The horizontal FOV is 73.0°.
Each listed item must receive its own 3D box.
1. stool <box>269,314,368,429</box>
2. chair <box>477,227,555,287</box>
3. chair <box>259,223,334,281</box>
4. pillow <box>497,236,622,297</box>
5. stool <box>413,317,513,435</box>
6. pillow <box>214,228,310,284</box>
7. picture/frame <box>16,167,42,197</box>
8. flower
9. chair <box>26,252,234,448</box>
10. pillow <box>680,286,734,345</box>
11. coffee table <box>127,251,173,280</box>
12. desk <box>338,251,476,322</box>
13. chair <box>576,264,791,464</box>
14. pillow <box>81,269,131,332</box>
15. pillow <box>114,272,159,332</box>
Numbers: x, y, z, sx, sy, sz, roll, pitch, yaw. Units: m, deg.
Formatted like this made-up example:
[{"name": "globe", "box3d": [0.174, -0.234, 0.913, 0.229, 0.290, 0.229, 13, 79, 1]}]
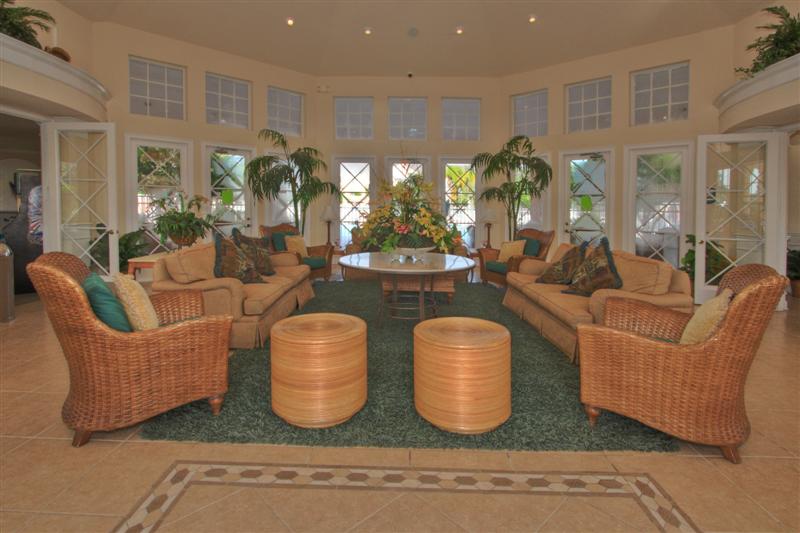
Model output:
[{"name": "stool", "box3d": [-0.670, 0.790, 4.555, 0.816, 0.613, 0.741, 0, 13, -7]}, {"name": "chair", "box3d": [1.885, -0.120, 8.603, 1.047, 0.859, 0.917, -5, 13, -18]}, {"name": "chair", "box3d": [-1.635, -0.174, 8.874, 1.142, 0.891, 1.021, -1, 12, -8]}, {"name": "pillow", "box3d": [1.846, -0.019, 6.039, 0.242, 0.716, 0.772, 28, -18, -20]}, {"name": "stool", "box3d": [0.487, 0.883, 4.557, 0.906, 0.664, 0.834, 0, 6, 0]}, {"name": "pillow", "box3d": [-1.709, -0.202, 6.212, 0.224, 0.650, 0.733, -30, -13, 19]}, {"name": "picture/frame", "box3d": [-6.406, -1.438, 9.368, 0.389, 0.525, 1.740, -6, 9, -34]}, {"name": "flower", "box3d": [0.237, -0.721, 6.936, 0.812, 0.677, 0.801, -12, 23, 9]}, {"name": "chair", "box3d": [-2.121, 0.586, 4.499, 1.421, 1.221, 1.139, -5, 14, -38]}, {"name": "pillow", "box3d": [2.298, 0.386, 4.062, 0.333, 0.436, 0.324, 4, 9, 22]}, {"name": "coffee table", "box3d": [-3.072, -0.014, 6.635, 0.358, 0.210, 0.471, -1, 7, -9]}, {"name": "desk", "box3d": [0.109, 0.360, 6.891, 1.502, 0.599, 1.453, -11, 2, -32]}, {"name": "chair", "box3d": [2.217, 0.650, 4.406, 1.344, 1.268, 1.022, 3, 17, 24]}, {"name": "pillow", "box3d": [-2.238, 0.284, 4.169, 0.349, 0.443, 0.297, -2, 9, -13]}, {"name": "pillow", "box3d": [-2.082, 0.291, 4.263, 0.140, 0.398, 0.460, -25, -3, 12]}]
